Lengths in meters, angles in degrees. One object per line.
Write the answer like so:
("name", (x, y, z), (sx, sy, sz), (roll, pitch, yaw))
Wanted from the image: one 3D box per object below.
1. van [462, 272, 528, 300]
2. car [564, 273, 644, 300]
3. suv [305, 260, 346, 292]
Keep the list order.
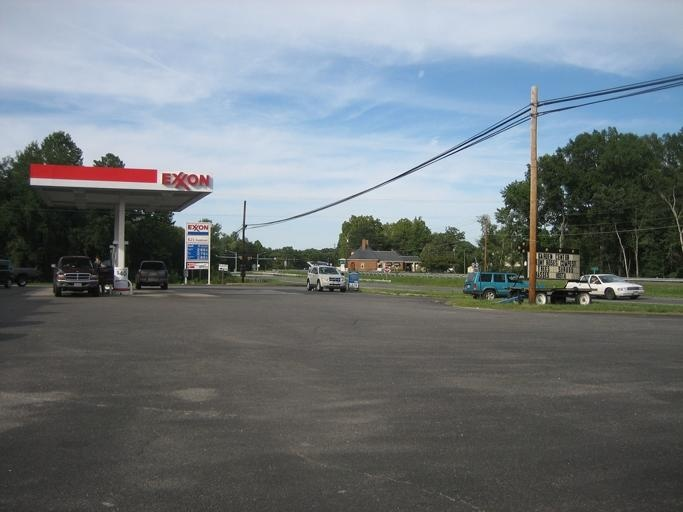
("van", (8.622, 1.772, 39.418), (2.388, 1.127, 1.445), (-3, 0, 5))
("car", (14.868, 1.815, 39.109), (1.314, 0.965, 3.123), (1, -5, -21))
("suv", (-1.203, 1.647, 49.005), (1.413, 1.300, 3.165), (1, -6, -19))
